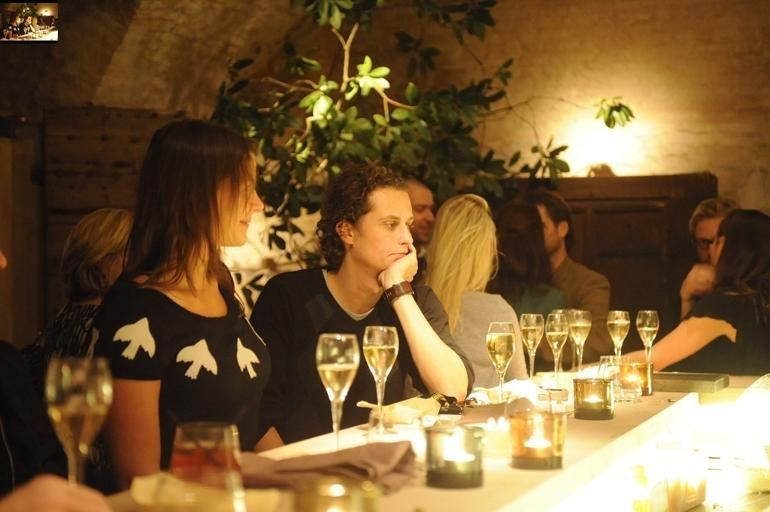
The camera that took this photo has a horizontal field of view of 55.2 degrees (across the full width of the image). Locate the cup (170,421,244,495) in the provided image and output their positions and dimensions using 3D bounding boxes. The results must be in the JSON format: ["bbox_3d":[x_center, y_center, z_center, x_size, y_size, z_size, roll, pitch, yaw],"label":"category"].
[{"bbox_3d":[-0.445,0.530,1.944,0.174,0.170,0.181,3,-14,1],"label":"cup"}]

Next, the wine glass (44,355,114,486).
[{"bbox_3d":[-0.857,0.457,2.050,0.166,0.350,0.188,4,-5,-23],"label":"wine glass"}]

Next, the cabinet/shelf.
[{"bbox_3d":[1.732,0.133,5.393,1.444,1.350,0.794,2,2,42],"label":"cabinet/shelf"}]
